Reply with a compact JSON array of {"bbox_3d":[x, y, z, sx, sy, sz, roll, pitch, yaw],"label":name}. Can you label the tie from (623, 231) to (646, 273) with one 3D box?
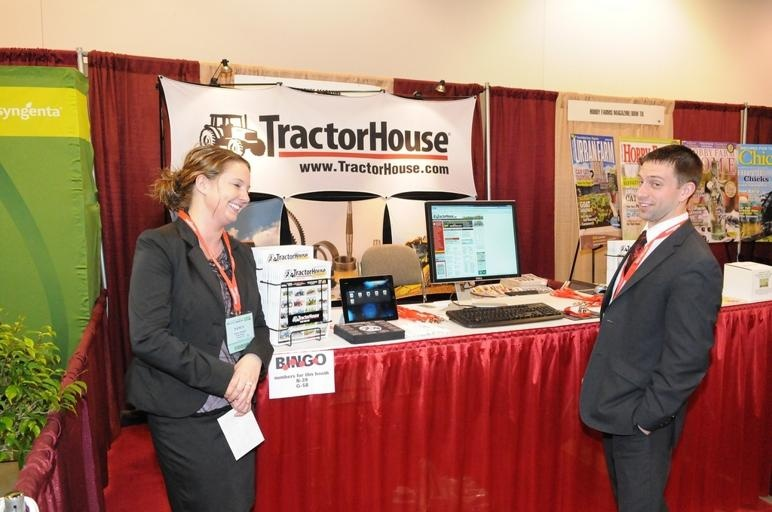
[{"bbox_3d":[1.422,-0.035,3.303,0.083,0.075,0.338,-32,19,47],"label":"tie"}]
